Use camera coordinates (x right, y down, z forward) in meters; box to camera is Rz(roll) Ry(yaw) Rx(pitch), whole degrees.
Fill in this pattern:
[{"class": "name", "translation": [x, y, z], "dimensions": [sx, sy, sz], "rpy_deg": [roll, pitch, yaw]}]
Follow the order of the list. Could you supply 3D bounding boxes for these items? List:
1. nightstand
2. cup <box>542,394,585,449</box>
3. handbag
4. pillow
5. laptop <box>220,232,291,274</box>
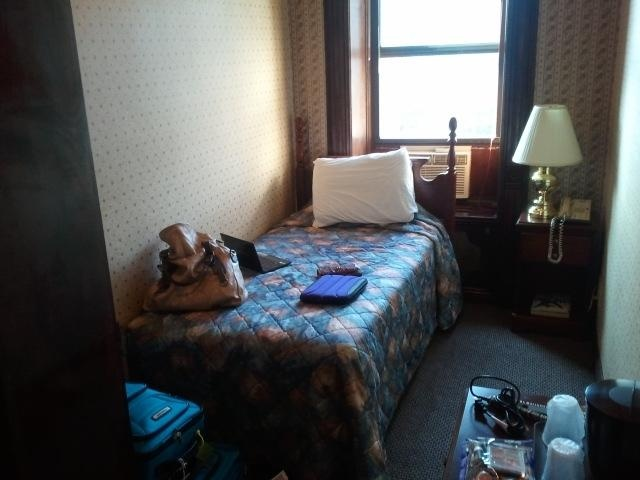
[{"class": "nightstand", "translation": [1.525, 0.149, 3.269], "dimensions": [0.585, 1.070, 0.677], "rpy_deg": [3, 12, 25]}, {"class": "cup", "translation": [0.752, 0.552, 1.520], "dimensions": [0.129, 0.151, 0.128], "rpy_deg": [-8, 22, 3]}, {"class": "handbag", "translation": [-0.571, 0.169, 2.221], "dimensions": [0.359, 0.336, 0.431], "rpy_deg": [1, 7, 10]}, {"class": "pillow", "translation": [0.309, -0.336, 3.255], "dimensions": [0.493, 0.442, 0.191], "rpy_deg": [-3, -7, 15]}, {"class": "laptop", "translation": [-0.364, 0.074, 2.597], "dimensions": [0.283, 0.253, 0.181], "rpy_deg": [16, 32, 39]}]
